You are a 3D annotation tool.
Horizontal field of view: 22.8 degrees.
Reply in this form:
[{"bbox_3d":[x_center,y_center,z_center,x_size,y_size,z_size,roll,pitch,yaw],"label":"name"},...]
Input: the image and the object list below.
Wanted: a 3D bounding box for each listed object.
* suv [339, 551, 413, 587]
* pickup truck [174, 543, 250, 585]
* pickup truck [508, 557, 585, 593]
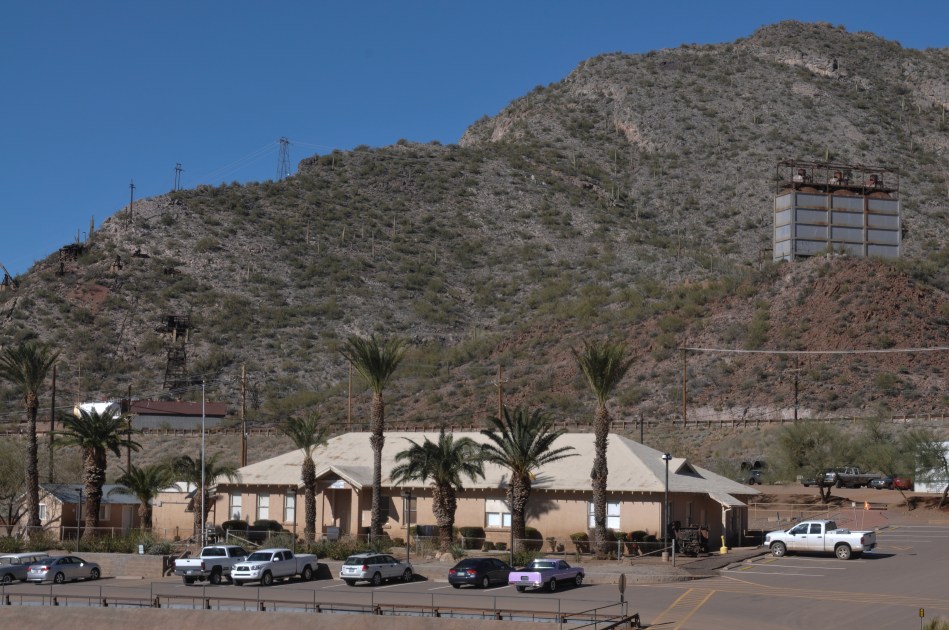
[{"bbox_3d":[-10.166,26.118,243.793,6.656,2.458,3.313,-3,2,-38],"label":"suv"},{"bbox_3d":[-26.889,25.955,247.729,4.593,3.730,9.623,-2,0,37],"label":"pickup truck"},{"bbox_3d":[7.660,26.748,241.365,6.245,2.261,3.391,-3,3,-41],"label":"pickup truck"}]
